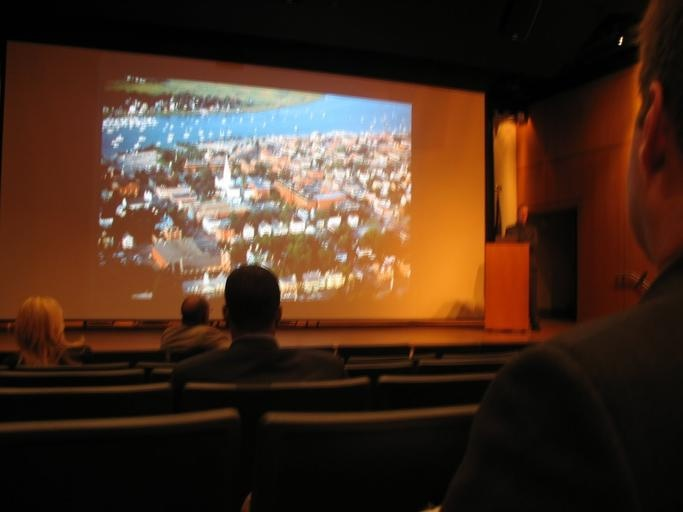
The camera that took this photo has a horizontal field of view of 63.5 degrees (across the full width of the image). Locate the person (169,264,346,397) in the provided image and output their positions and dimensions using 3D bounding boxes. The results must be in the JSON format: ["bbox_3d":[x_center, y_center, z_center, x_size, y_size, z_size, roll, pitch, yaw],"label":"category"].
[{"bbox_3d":[-0.314,0.143,2.121,0.663,0.634,0.362,1,-14,-6],"label":"person"}]
